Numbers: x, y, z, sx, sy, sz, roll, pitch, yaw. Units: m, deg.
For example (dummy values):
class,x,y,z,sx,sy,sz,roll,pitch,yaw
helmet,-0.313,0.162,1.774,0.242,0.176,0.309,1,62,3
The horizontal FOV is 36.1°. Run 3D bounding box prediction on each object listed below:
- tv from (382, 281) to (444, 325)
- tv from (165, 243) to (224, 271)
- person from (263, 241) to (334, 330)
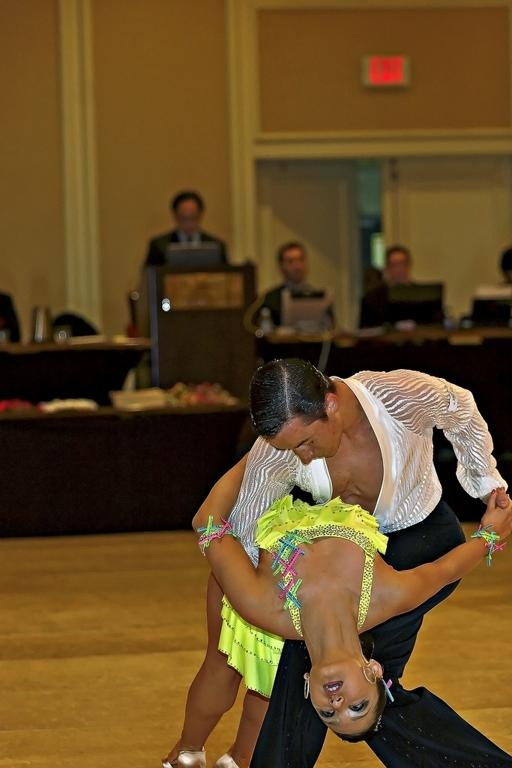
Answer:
class,x,y,z,sx,sy,sz,roll,pitch,yaw
tv,1.020,-0.504,5.135,0.502,0.250,0.321,-1,-3,4
tv,-0.325,-0.671,4.131,0.304,0.143,0.202,-1,1,-7
person,0.241,-0.712,5.342,0.467,0.632,0.812,-1,1,-1
